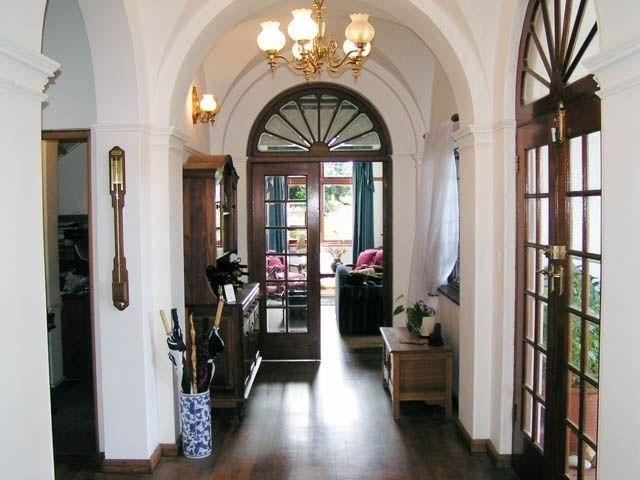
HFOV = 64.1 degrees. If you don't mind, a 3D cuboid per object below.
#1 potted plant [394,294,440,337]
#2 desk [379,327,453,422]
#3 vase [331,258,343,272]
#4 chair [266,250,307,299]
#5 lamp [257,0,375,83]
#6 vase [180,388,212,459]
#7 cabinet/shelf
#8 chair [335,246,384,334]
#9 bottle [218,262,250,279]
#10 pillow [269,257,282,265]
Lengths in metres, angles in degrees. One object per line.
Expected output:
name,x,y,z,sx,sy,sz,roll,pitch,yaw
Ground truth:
potted plant,0.961,0.737,5.062,0.369,0.461,0.414,-6,4,3
desk,0.909,1.261,4.881,0.539,0.653,0.573,0,7,-1
vase,0.348,0.466,9.498,0.194,0.258,0.214,-1,3,-8
chair,-0.347,0.395,6.225,0.416,0.686,0.496,1,-6,-6
lamp,-0.016,-1.826,4.604,0.837,0.706,0.871,-4,11,-30
vase,-0.935,1.484,4.171,0.262,0.500,0.271,-4,-4,38
cabinet/shelf,-0.866,0.384,4.992,0.622,2.411,1.126,-1,6,-7
chair,0.602,0.744,7.512,0.867,1.413,0.974,0,-1,5
bottle,-0.790,0.272,4.752,0.150,0.110,0.211,7,-9,-38
pillow,-0.484,0.247,6.204,0.113,0.137,0.087,4,-3,-12
